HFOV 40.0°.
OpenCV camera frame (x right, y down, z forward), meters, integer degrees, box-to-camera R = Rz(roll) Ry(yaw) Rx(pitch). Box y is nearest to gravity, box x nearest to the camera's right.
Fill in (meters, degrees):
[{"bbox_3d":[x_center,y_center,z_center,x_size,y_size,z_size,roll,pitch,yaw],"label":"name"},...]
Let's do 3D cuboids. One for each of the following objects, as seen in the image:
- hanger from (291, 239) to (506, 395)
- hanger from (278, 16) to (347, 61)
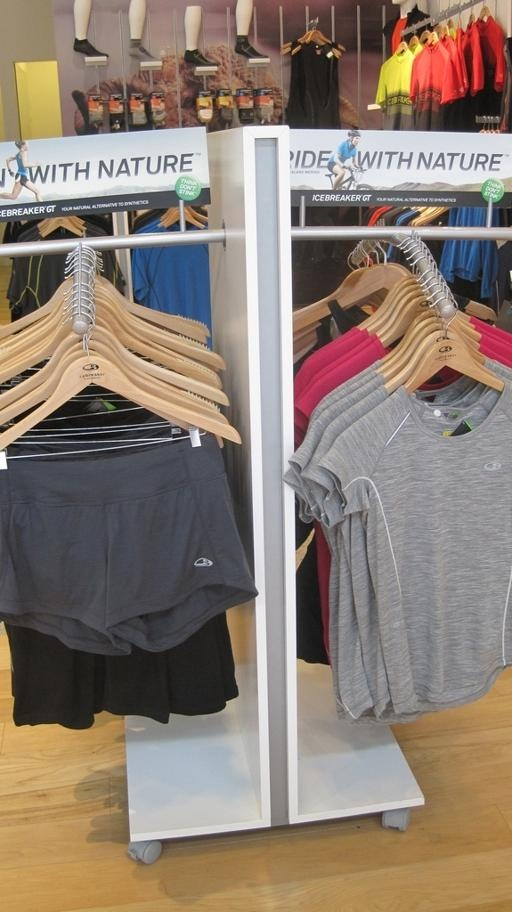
[{"bbox_3d":[0.302,-0.282,1.475,0.444,0.325,0.607,0,14,2],"label":"hanger"},{"bbox_3d":[0.331,-2.327,3.946,0.327,0.267,0.284,5,15,22],"label":"hanger"}]
